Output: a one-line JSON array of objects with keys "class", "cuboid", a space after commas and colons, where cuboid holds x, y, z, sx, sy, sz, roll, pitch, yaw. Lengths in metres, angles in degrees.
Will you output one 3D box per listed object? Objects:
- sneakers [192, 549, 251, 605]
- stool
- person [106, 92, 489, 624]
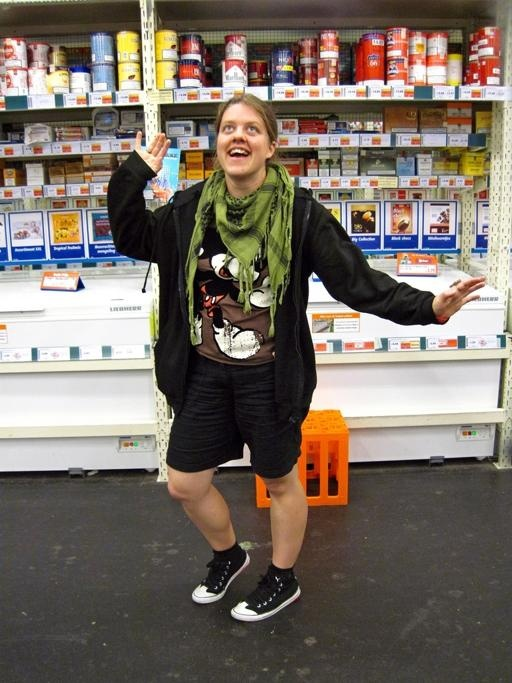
[{"class": "sneakers", "cuboid": [-0.110, 0.791, 1.917, 0.184, 0.078, 0.068, -44, 46, -19]}, {"class": "stool", "cuboid": [0.202, 0.513, 2.719, 0.419, 0.400, 0.420, -1, 7, 0]}, {"class": "person", "cuboid": [0.046, 0.119, 1.617, 0.794, 1.514, 0.337, 0, 8, 10]}]
